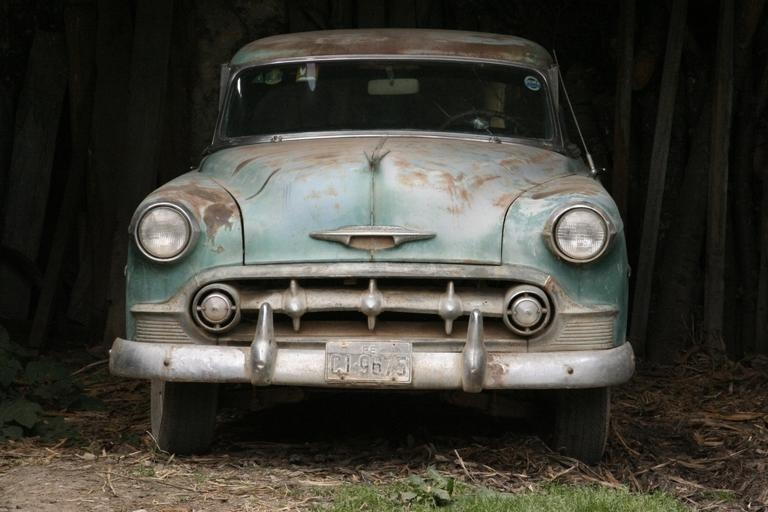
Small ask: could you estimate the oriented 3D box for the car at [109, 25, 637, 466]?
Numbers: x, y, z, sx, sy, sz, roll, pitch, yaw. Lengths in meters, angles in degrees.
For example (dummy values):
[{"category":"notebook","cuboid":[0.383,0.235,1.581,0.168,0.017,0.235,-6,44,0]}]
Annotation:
[{"category":"car","cuboid":[0.090,-0.381,6.883,3.032,2.701,4.320,2,10,4]}]
